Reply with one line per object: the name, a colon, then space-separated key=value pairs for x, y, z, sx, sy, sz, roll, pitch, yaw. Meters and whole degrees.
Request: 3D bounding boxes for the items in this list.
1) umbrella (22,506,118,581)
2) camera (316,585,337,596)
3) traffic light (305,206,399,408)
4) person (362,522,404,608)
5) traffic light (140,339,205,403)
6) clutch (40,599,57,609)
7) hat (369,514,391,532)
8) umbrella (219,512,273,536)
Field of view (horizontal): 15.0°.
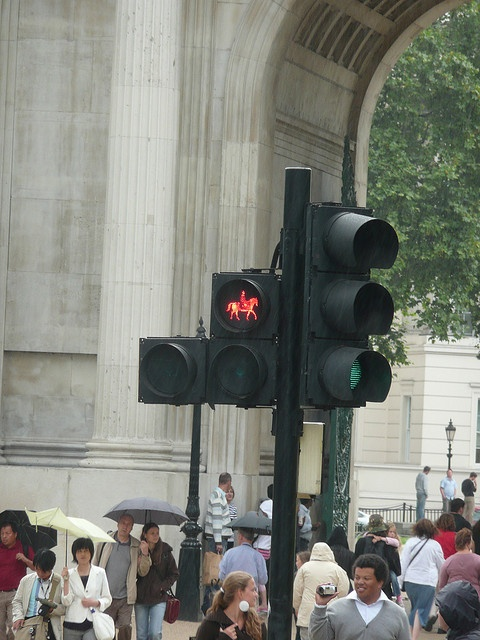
umbrella: x=-1.842 y=2.406 z=20.106 sx=0.600 sy=0.547 sz=0.766 roll=-2 pitch=-20 yaw=30
camera: x=0.756 y=2.411 z=16.130 sx=0.160 sy=0.121 sz=0.259 roll=4 pitch=-4 yaw=1
traffic light: x=0.902 y=-0.111 z=15.255 sx=0.764 sy=1.744 sz=0.495 roll=3 pitch=-3 yaw=2
person: x=1.721 y=2.894 z=21.906 sx=0.480 sy=1.316 sz=0.417 roll=0 pitch=25 yaw=12
traffic light: x=-0.586 y=0.443 z=15.801 sx=0.665 sy=0.587 sz=0.253 roll=3 pitch=-3 yaw=13
clutch: x=-1.967 y=2.941 z=18.786 sx=0.097 sy=0.040 sz=0.112 roll=19 pitch=-25 yaw=10
hat: x=1.626 y=2.463 z=21.869 sx=0.178 sy=0.134 sz=0.182 roll=-5 pitch=-1 yaw=38
umbrella: x=0.098 y=2.504 z=22.345 sx=0.575 sy=0.240 sz=0.600 roll=-5 pitch=-8 yaw=39
